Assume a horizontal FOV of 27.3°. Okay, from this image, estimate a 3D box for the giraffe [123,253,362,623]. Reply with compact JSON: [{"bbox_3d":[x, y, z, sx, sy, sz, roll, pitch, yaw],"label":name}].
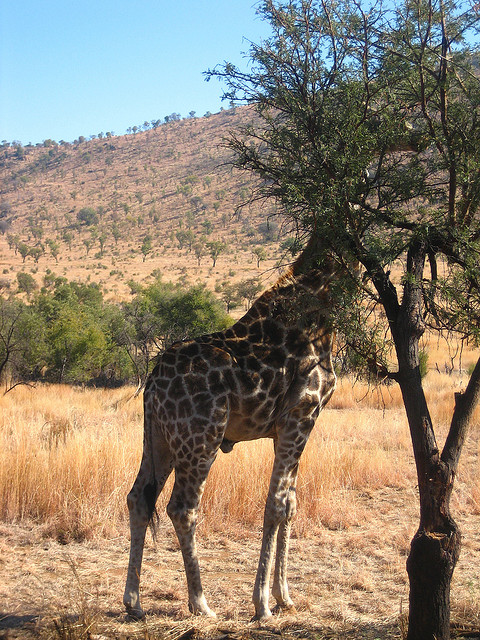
[{"bbox_3d":[-0.069,0.900,8.100,1.822,2.816,1.054,-1,5,-10],"label":"giraffe"}]
